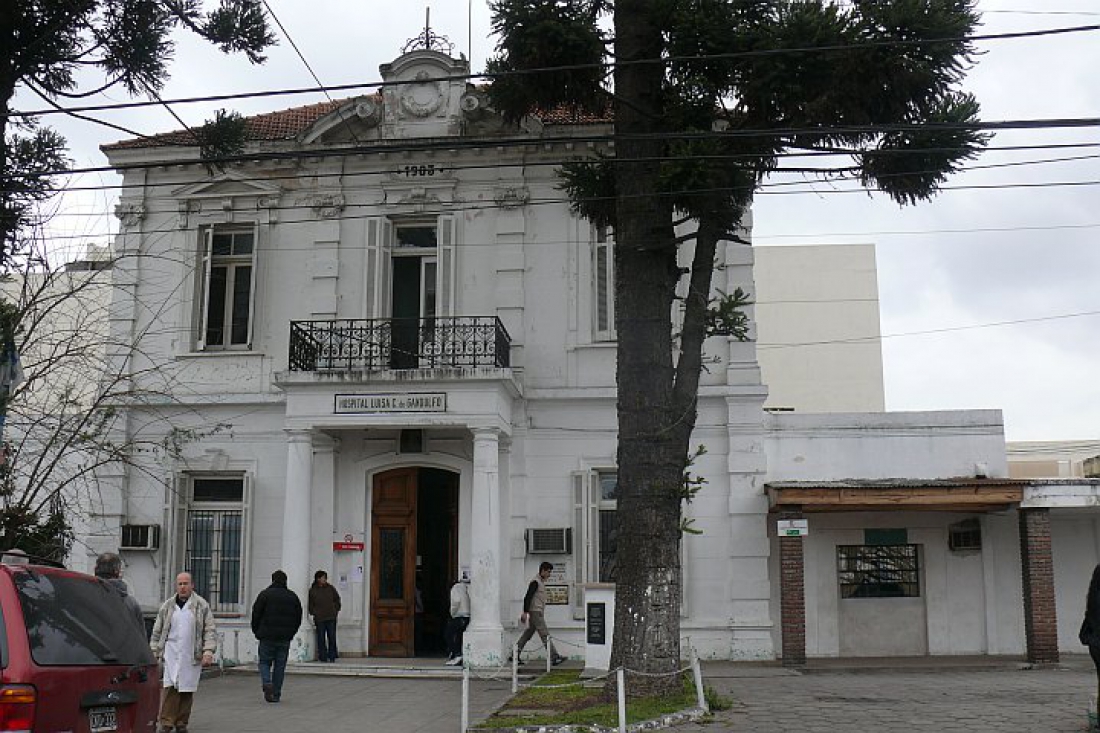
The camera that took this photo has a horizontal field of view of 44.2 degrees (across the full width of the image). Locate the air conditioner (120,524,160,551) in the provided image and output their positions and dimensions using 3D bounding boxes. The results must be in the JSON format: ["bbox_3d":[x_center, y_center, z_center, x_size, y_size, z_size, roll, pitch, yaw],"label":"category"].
[{"bbox_3d":[-9.622,3.956,31.901,1.121,0.708,0.584,0,-2,10],"label":"air conditioner"}]

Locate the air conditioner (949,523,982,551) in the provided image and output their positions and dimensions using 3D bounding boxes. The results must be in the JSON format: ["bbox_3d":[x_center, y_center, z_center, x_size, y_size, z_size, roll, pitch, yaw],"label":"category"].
[{"bbox_3d":[9.719,3.957,31.646,0.720,0.659,0.654,2,-5,0],"label":"air conditioner"}]

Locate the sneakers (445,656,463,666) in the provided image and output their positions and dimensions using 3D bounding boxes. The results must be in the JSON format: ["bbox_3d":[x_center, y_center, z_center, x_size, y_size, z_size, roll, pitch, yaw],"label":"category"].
[{"bbox_3d":[-2.128,6.409,29.735,0.310,0.184,0.387,-1,-11,-4],"label":"sneakers"}]

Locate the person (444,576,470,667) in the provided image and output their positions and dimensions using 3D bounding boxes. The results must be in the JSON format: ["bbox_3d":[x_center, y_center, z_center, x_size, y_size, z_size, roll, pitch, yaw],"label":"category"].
[{"bbox_3d":[-2.035,5.523,29.809,0.529,1.940,1.199,-1,-11,-5],"label":"person"}]

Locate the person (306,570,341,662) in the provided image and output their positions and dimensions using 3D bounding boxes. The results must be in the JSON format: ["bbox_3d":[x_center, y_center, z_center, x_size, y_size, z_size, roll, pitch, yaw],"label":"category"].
[{"bbox_3d":[-5.073,5.518,30.119,0.654,1.958,1.059,-3,-11,6],"label":"person"}]

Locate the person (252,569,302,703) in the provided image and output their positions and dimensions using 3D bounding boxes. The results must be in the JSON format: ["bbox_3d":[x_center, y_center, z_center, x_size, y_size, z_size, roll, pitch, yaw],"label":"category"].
[{"bbox_3d":[-5.285,5.144,26.015,0.924,2.498,0.879,1,-12,-12],"label":"person"}]

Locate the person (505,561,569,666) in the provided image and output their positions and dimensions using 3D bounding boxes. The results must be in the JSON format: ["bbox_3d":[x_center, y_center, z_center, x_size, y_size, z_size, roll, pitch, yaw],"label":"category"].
[{"bbox_3d":[-0.242,5.386,29.862,1.036,2.262,1.547,-2,-11,1],"label":"person"}]
